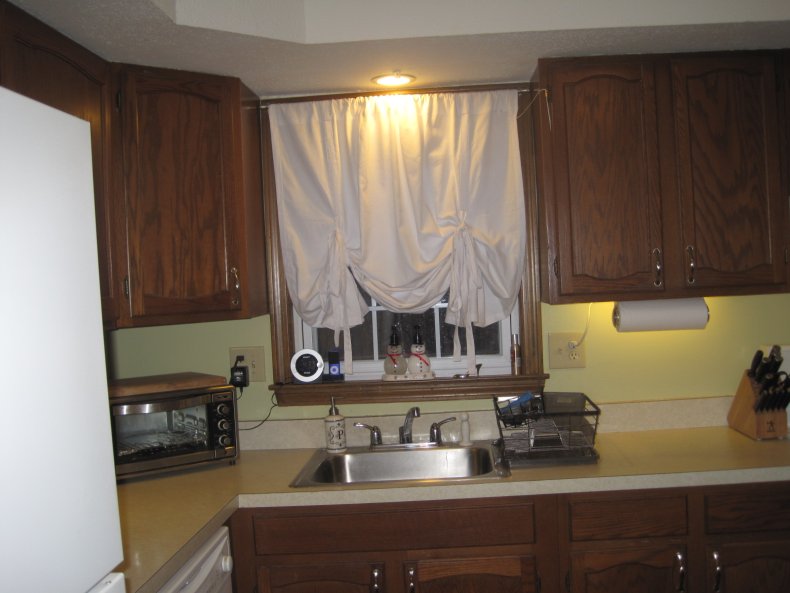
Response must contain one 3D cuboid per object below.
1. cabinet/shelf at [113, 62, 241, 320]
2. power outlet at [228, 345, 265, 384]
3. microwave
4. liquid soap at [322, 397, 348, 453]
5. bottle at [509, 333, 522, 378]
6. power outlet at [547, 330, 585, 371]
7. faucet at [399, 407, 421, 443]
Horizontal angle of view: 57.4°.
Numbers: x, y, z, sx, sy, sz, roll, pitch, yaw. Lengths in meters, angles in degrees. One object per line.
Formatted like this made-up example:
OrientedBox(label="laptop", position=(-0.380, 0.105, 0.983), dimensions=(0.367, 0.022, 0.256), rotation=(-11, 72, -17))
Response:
OrientedBox(label="cabinet/shelf", position=(-0.938, -0.450, 3.004), dimensions=(0.483, 0.964, 0.477), rotation=(-7, 23, -30))
OrientedBox(label="power outlet", position=(-0.680, 0.308, 3.284), dimensions=(0.157, 0.178, 0.023), rotation=(0, 1, 0))
OrientedBox(label="microwave", position=(-0.901, 0.520, 2.870), dimensions=(0.509, 0.349, 0.359), rotation=(0, -4, -30))
OrientedBox(label="liquid soap", position=(-0.248, 0.557, 3.125), dimensions=(0.110, 0.182, 0.084), rotation=(-6, 3, -30))
OrientedBox(label="bottle", position=(0.554, 0.262, 3.290), dimensions=(0.051, 0.115, 0.065), rotation=(-4, 2, 0))
OrientedBox(label="power outlet", position=(0.774, 0.240, 3.239), dimensions=(0.154, 0.166, 0.053), rotation=(1, 1, 0))
OrientedBox(label="faucet", position=(0.063, 0.565, 3.153), dimensions=(0.093, 0.122, 0.136), rotation=(-5, 2, -1))
